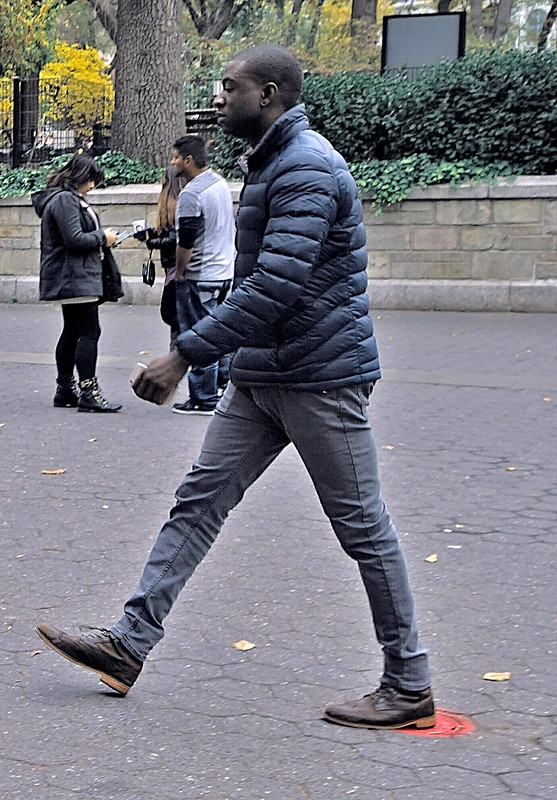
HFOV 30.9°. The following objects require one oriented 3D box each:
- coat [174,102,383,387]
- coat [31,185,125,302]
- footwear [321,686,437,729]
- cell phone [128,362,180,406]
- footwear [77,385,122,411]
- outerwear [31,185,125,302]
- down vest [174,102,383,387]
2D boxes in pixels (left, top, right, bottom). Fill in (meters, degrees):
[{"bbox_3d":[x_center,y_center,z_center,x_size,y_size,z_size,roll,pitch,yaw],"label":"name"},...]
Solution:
[{"bbox_3d":[-0.009,-0.426,2.687,0.586,0.689,0.544,-1,19,-9],"label":"coat"},{"bbox_3d":[-1.388,-1.196,7.694,0.862,0.974,0.809,-5,11,-11],"label":"coat"},{"bbox_3d":[0.286,0.815,2.725,0.230,0.087,0.126,4,-15,-2],"label":"footwear"},{"bbox_3d":[-0.346,-0.047,2.651,0.092,0.104,0.188,-8,15,-26],"label":"cell phone"},{"bbox_3d":[-1.266,-0.025,7.442,0.393,0.243,0.136,-1,12,-7],"label":"footwear"},{"bbox_3d":[-1.458,-1.213,7.677,0.862,0.974,0.809,-5,11,-11],"label":"outerwear"},{"bbox_3d":[-0.036,-0.446,2.918,0.726,0.900,0.726,4,10,10],"label":"down vest"}]
